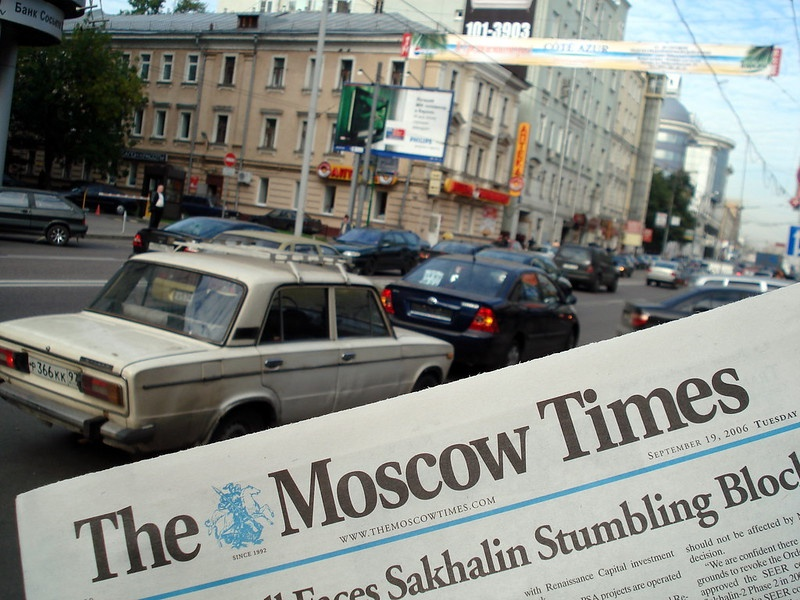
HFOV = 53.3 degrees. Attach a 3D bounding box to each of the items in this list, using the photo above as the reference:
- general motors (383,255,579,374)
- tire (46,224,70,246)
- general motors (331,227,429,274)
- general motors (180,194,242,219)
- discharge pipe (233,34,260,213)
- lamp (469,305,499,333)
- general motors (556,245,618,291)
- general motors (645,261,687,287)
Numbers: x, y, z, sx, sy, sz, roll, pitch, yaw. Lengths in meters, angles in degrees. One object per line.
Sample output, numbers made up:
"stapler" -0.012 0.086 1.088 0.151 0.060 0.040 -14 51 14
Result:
"general motors" 1.340 0.140 10.563 1.222 1.011 2.841 2 9 29
"tire" -8.457 -1.461 19.688 0.441 0.522 0.166 -7 13 -33
"general motors" -0.737 -1.310 25.052 1.362 1.170 2.971 4 2 32
"general motors" -9.422 -4.326 38.357 1.945 1.050 2.514 1 6 -14
"discharge pipe" -8.668 -11.427 45.674 1.345 8.151 0.505 4 5 27
"lamp" 0.997 0.371 9.412 0.265 0.268 0.271 10 9 40
"general motors" 7.200 -0.911 30.023 1.300 1.338 3.037 3 10 25
"general motors" 13.474 -0.773 40.174 0.964 0.872 2.399 2 9 26
